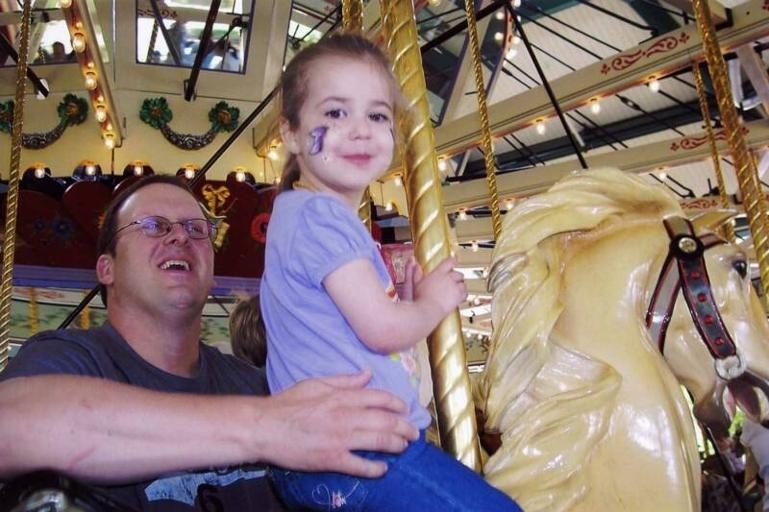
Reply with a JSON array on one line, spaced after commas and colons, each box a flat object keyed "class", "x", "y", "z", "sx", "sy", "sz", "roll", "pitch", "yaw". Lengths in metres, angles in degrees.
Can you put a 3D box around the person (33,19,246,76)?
[{"class": "person", "x": -3.656, "y": -3.264, "z": 8.868, "sx": 2.929, "sy": 0.657, "sz": 0.467, "roll": 1, "pitch": -1, "yaw": -9}]
